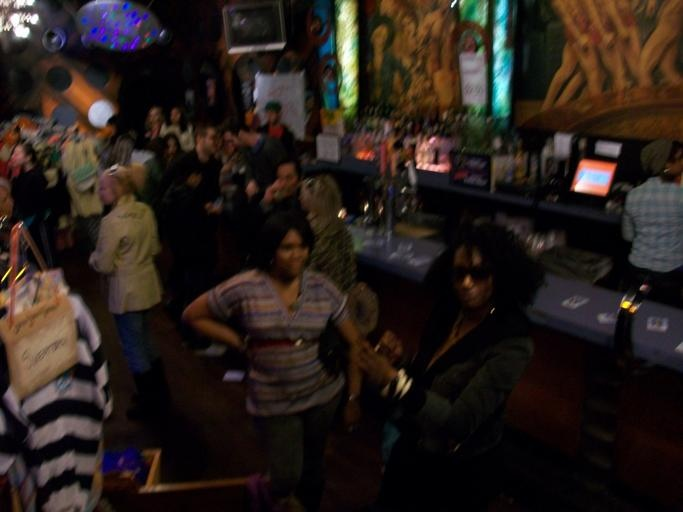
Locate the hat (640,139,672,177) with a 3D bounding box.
[{"bbox_3d":[2.250,-0.708,3.833,0.199,0.228,0.175,21,20,1],"label":"hat"}]

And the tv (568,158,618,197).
[{"bbox_3d":[1.858,-0.596,3.955,0.293,0.252,0.248,7,18,27],"label":"tv"}]

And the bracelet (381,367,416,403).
[{"bbox_3d":[0.295,0.727,2.948,0.152,0.169,0.045,30,11,6],"label":"bracelet"}]
